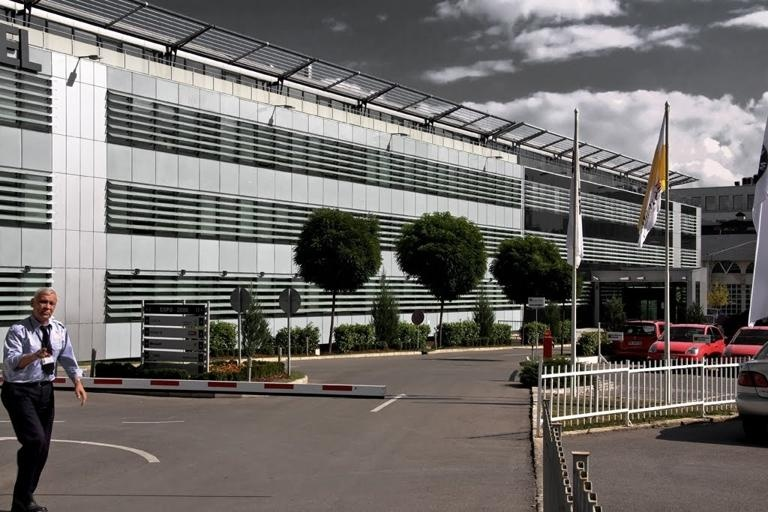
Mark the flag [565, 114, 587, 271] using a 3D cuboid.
[{"bbox_3d":[5.377,-1.706,23.699,0.465,5.637,0.630,-7,32,2],"label":"flag"}]

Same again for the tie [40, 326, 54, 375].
[{"bbox_3d":[-5.252,1.413,13.061,0.211,1.009,0.102,-3,37,-23],"label":"tie"}]
